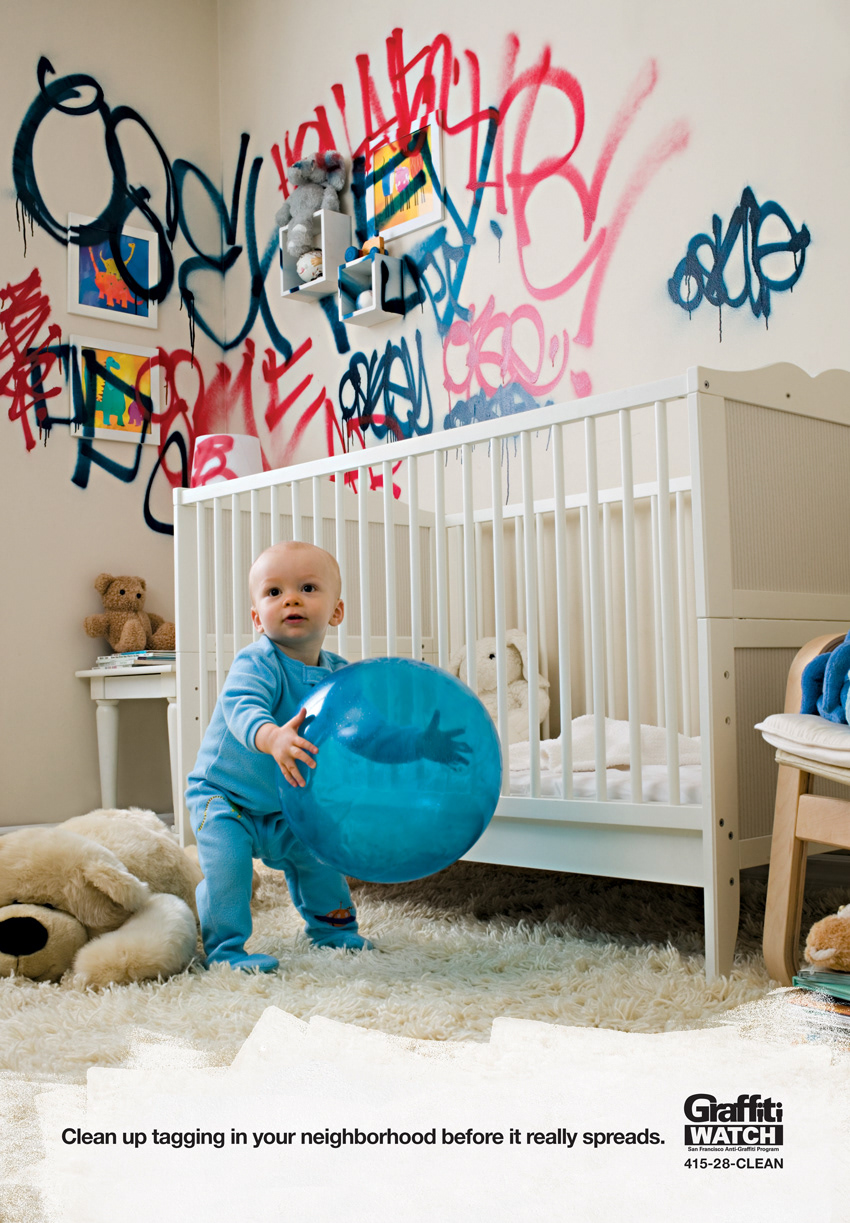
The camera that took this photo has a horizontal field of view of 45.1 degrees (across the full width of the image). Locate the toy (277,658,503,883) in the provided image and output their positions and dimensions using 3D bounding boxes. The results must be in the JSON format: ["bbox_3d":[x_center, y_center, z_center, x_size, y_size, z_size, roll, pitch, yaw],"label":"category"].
[{"bbox_3d":[-0.030,0.163,1.035,0.193,0.245,0.141,-1,-15,12],"label":"toy"}]

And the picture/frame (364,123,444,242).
[{"bbox_3d":[-0.049,-1.141,2.708,0.022,0.392,0.335,0,-1,-32],"label":"picture/frame"}]

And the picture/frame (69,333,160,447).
[{"bbox_3d":[-0.903,-0.632,2.924,0.012,0.310,0.313,-2,-3,26],"label":"picture/frame"}]

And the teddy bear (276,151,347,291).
[{"bbox_3d":[-0.345,-1.117,2.966,0.184,0.381,0.111,-3,-5,37],"label":"teddy bear"}]

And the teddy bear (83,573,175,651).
[{"bbox_3d":[-0.798,0.005,2.755,0.237,0.210,0.238,1,1,-21],"label":"teddy bear"}]

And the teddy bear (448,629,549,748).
[{"bbox_3d":[0.121,0.124,1.637,0.126,0.179,0.115,-18,-40,0],"label":"teddy bear"}]
